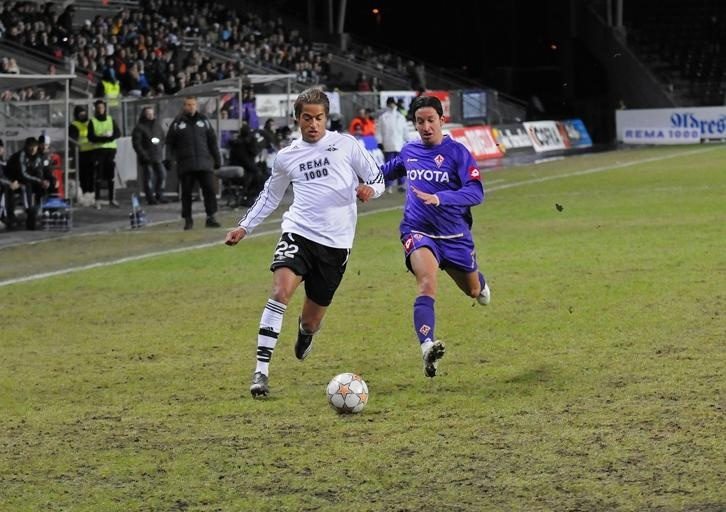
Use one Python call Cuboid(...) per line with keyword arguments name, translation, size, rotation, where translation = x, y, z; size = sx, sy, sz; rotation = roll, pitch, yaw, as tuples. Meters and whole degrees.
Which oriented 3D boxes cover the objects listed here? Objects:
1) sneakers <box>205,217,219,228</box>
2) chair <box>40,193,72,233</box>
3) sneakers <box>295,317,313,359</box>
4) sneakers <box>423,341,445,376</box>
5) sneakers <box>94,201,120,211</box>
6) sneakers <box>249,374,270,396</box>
Cuboid(name="sneakers", translation=(-2.833, -0.626, 20.577), size=(0.268, 0.205, 0.342), rotation=(-3, 4, -8))
Cuboid(name="chair", translation=(-5.709, -0.816, 20.673), size=(0.701, 0.764, 0.487), rotation=(1, 1, 8))
Cuboid(name="sneakers", translation=(-0.681, 0.962, 12.501), size=(0.195, 0.500, 0.251), rotation=(1, 29, -12))
Cuboid(name="sneakers", translation=(0.741, 1.118, 11.750), size=(0.185, 0.471, 0.220), rotation=(7, 44, -5))
Cuboid(name="sneakers", translation=(-5.600, -1.084, 23.509), size=(0.714, 0.236, 0.199), rotation=(-2, 9, -4))
Cuboid(name="sneakers", translation=(-1.133, 1.429, 11.959), size=(0.204, 0.294, 0.285), rotation=(-4, 5, -7))
